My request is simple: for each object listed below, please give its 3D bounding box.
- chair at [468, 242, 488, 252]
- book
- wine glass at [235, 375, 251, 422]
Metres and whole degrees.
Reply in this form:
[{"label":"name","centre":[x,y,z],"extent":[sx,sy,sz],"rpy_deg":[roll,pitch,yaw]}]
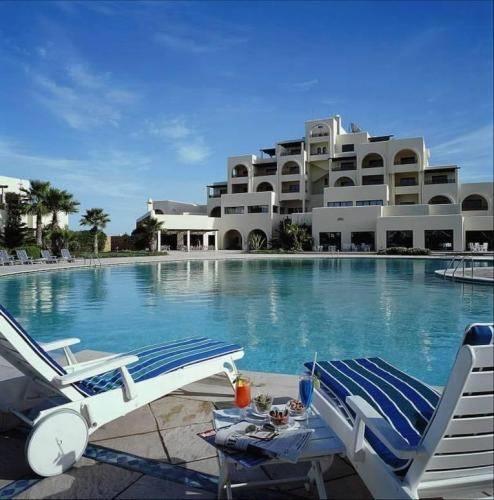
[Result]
[{"label":"chair","centre":[16.086,-0.219,28.313],"extent":[0.797,0.405,1.084],"rpy_deg":[0,-1,5]},{"label":"book","centre":[-0.049,0.953,2.045],"extent":[0.255,0.098,0.246],"rpy_deg":[10,1,-34]},{"label":"wine glass","centre":[-0.024,0.859,2.457],"extent":[0.113,0.173,0.104],"rpy_deg":[0,-8,6]}]
